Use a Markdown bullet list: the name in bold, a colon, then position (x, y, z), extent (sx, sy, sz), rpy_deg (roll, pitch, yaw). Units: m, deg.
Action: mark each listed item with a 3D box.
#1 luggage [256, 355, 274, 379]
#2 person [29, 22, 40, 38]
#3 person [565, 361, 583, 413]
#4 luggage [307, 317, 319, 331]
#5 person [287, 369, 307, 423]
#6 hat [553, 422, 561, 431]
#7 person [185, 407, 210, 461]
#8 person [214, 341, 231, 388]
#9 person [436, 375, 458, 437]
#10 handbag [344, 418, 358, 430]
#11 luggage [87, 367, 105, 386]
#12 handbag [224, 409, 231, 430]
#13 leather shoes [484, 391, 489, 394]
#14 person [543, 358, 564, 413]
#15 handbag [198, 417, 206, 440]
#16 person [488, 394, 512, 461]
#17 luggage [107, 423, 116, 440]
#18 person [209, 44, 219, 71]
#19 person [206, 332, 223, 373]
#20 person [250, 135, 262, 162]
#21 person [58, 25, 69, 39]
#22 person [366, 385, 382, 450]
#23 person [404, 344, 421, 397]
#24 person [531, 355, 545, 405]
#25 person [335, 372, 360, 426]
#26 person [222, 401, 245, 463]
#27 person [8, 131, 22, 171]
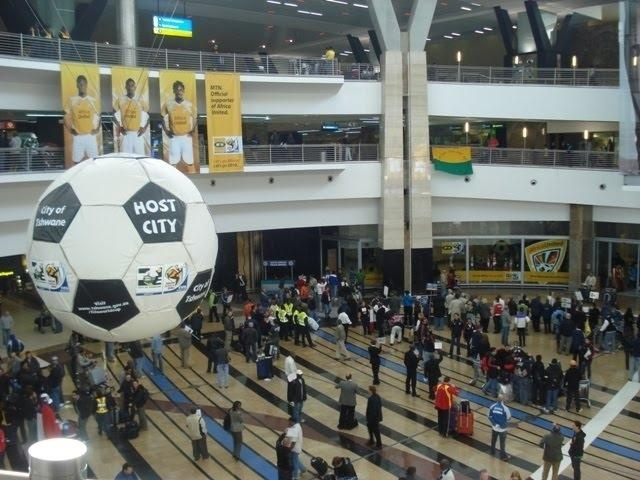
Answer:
- **luggage**: position (-1.834, 4.275, 22.513), extent (0.652, 0.985, 0.674), rpy_deg (0, 1, -21)
- **person**: position (-10.535, -7.754, 24.912), extent (0.342, 0.440, 1.196), rpy_deg (-5, 16, -22)
- **person**: position (7.720, 4.426, 20.565), extent (0.549, 1.795, 0.876), rpy_deg (6, 14, 22)
- **luggage**: position (-0.302, 3.218, 25.837), extent (0.454, 0.570, 0.196), rpy_deg (-5, -23, -38)
- **person**: position (-0.659, 4.568, 19.830), extent (0.601, 1.621, 0.639), rpy_deg (-5, 14, -22)
- **hat**: position (5.969, 4.749, 17.052), extent (0.214, 0.157, 0.316), rpy_deg (4, -20, 3)
- **person**: position (-3.224, 5.122, 17.960), extent (0.511, 1.647, 0.391), rpy_deg (-10, 17, -36)
- **person**: position (-3.190, 4.116, 22.023), extent (0.458, 1.395, 0.835), rpy_deg (-2, 14, -10)
- **person**: position (3.612, 4.692, 19.240), extent (0.585, 1.789, 0.532), rpy_deg (-1, 13, -3)
- **handbag**: position (0.939, 5.377, 19.623), extent (0.478, 0.306, 0.293), rpy_deg (2, -3, -39)
- **luggage**: position (-6.008, 3.767, 18.264), extent (0.406, 0.509, 0.477), rpy_deg (-6, 15, -24)
- **handbag**: position (-2.446, 4.836, 17.772), extent (0.194, 0.591, 0.266), rpy_deg (-3, 14, -14)
- **leather shoes**: position (5.327, 4.921, 21.640), extent (0.095, 0.041, 0.138), rpy_deg (5, 6, 15)
- **person**: position (7.105, 4.393, 20.533), extent (0.513, 1.696, 0.677), rpy_deg (5, 14, 21)
- **handbag**: position (-3.104, 5.000, 17.921), extent (0.177, 0.460, 0.318), rpy_deg (-1, 2, -25)
- **person**: position (4.885, 5.023, 18.407), extent (0.535, 1.729, 0.759), rpy_deg (4, 14, 16)
- **luggage**: position (-5.826, 5.401, 18.906), extent (0.263, 0.420, 0.166), rpy_deg (-4, 14, -16)
- **person**: position (-4.434, -7.703, 28.462), extent (0.625, 1.085, 1.711), rpy_deg (-2, 14, -9)
- **person**: position (-3.499, 3.790, 22.503), extent (0.578, 1.523, 0.439), rpy_deg (7, 13, 6)
- **person**: position (-2.897, -4.146, 29.405), extent (0.285, 1.277, 1.304), rpy_deg (4, 0, -1)
- **person**: position (-9.671, -7.836, 25.565), extent (0.384, 0.509, 2.055), rpy_deg (-4, 15, -18)
- **person**: position (1.521, 4.798, 18.830), extent (0.456, 1.785, 0.928), rpy_deg (1, 14, 4)
- **person**: position (2.913, 4.097, 21.594), extent (0.432, 1.786, 1.063), rpy_deg (2, 14, 8)
- **person**: position (6.799, 4.385, 21.028), extent (0.490, 1.490, 0.548), rpy_deg (7, 15, 25)
- **person**: position (0.801, 4.602, 19.636), extent (0.645, 1.729, 0.996), rpy_deg (1, 14, 2)
- **person**: position (-2.307, 5.071, 17.905), extent (0.559, 1.531, 0.516), rpy_deg (-1, 11, -3)
- **person**: position (-10.927, -3.236, 24.216), extent (0.393, 1.161, 2.904), rpy_deg (-6, 16, -24)
